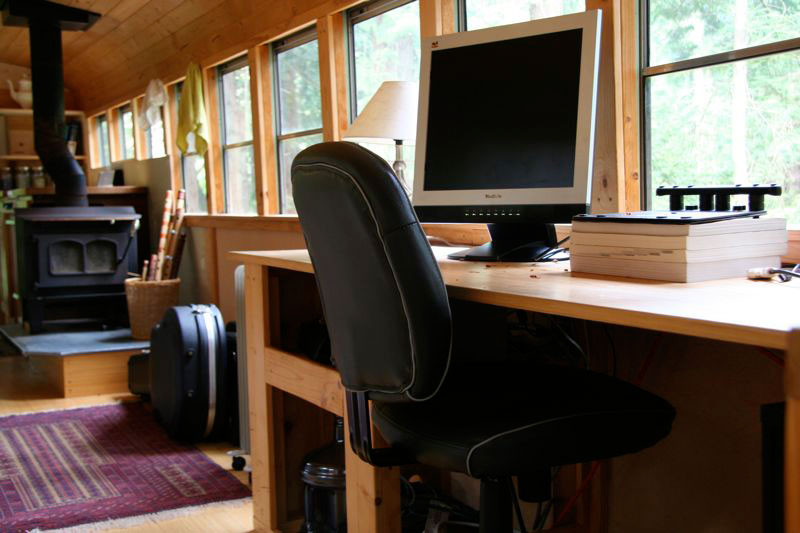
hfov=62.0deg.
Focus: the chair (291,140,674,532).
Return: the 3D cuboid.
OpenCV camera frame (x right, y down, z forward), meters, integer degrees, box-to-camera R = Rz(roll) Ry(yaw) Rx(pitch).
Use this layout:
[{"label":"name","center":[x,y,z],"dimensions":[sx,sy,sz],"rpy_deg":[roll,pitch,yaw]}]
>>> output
[{"label":"chair","center":[0.207,0.173,2.108],"dimensions":[1.082,1.207,0.916],"rpy_deg":[-2,1,-27]}]
